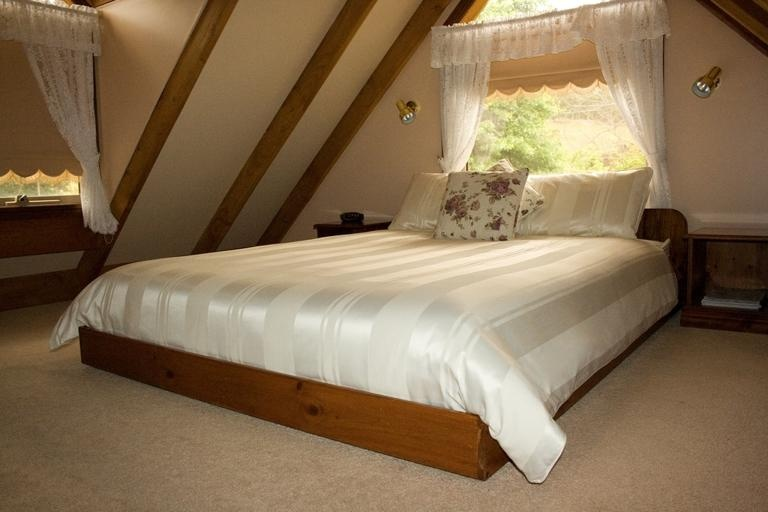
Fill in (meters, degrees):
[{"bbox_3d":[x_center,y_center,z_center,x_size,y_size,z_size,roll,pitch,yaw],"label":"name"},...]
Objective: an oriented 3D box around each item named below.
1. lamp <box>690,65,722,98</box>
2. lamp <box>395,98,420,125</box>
[{"bbox_3d":[2.545,-1.375,3.644,0.189,0.242,0.288,8,17,34],"label":"lamp"},{"bbox_3d":[0.253,-1.499,4.809,0.226,0.242,0.272,-1,14,2],"label":"lamp"}]
